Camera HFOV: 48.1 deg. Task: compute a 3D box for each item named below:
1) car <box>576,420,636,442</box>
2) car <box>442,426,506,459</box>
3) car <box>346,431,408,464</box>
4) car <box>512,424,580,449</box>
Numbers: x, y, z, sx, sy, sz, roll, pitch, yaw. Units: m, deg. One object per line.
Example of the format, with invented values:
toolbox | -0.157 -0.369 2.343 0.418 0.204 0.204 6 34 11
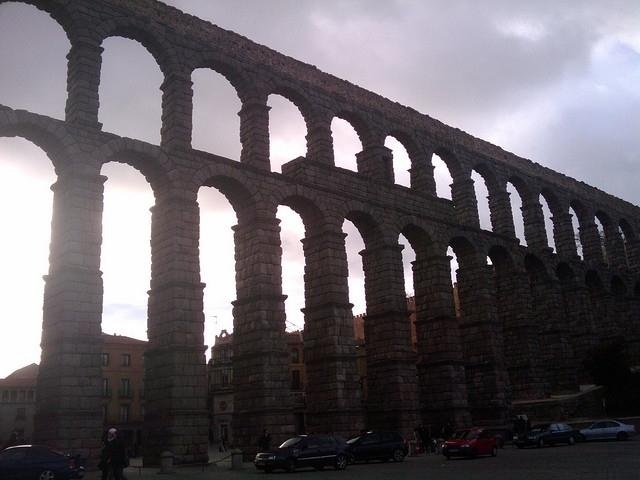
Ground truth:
car | 15.417 10.244 38.305 2.825 0.912 1.271 -2 -18 10
car | 7.063 9.510 33.523 2.325 1.356 1.367 6 -27 -24
car | 2.606 9.559 33.069 2.534 1.030 1.349 9 -22 -17
car | 11.913 10.165 37.043 2.897 0.847 1.275 9 -27 -26
